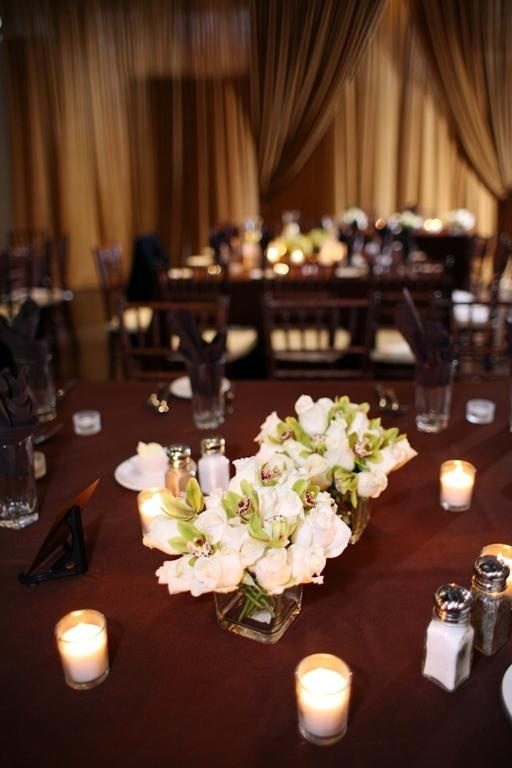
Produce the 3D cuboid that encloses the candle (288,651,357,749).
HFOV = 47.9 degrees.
[{"bbox_3d":[0.065,0.308,0.564,0.045,0.061,0.054,2,14,12],"label":"candle"}]

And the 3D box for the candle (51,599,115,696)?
[{"bbox_3d":[-0.191,0.297,0.640,0.048,0.063,0.049,-12,14,-43],"label":"candle"}]

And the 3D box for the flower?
[{"bbox_3d":[0.046,0.150,0.692,0.327,0.164,0.221,-33,26,-30],"label":"flower"}]

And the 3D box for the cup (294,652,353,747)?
[{"bbox_3d":[0.063,0.299,0.547,0.056,0.077,0.067,-1,21,1],"label":"cup"}]

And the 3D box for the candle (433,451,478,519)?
[{"bbox_3d":[0.360,0.180,1.033,0.065,0.082,0.067,4,5,39],"label":"candle"}]

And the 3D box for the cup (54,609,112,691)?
[{"bbox_3d":[-0.187,0.290,0.628,0.063,0.080,0.067,-1,12,0],"label":"cup"}]

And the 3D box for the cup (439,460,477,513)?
[{"bbox_3d":[0.346,0.171,1.020,0.068,0.091,0.077,-1,23,3],"label":"cup"}]
